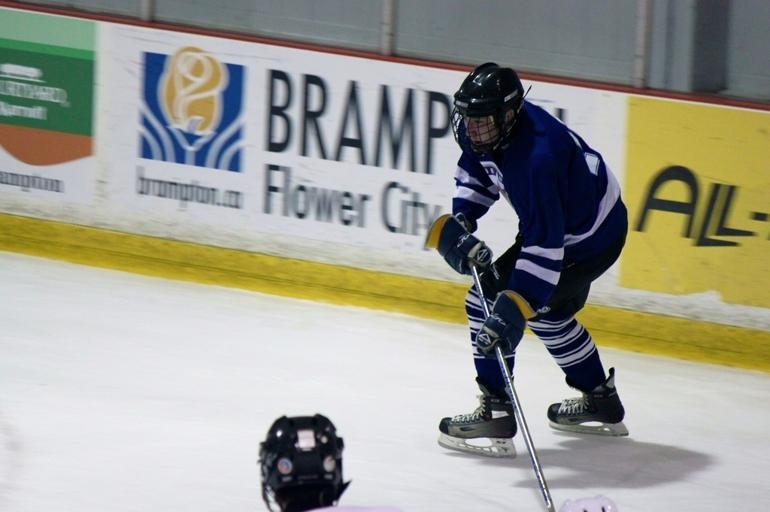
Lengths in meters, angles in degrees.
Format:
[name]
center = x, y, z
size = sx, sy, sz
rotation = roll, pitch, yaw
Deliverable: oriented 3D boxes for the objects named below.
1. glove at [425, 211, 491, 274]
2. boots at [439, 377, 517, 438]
[glove]
center = 0.379, -0.067, 9.785
size = 0.394, 0.250, 0.158
rotation = 45, 19, 14
[boots]
center = 0.536, 0.868, 9.969
size = 0.535, 0.345, 0.168
rotation = -3, -2, 30
